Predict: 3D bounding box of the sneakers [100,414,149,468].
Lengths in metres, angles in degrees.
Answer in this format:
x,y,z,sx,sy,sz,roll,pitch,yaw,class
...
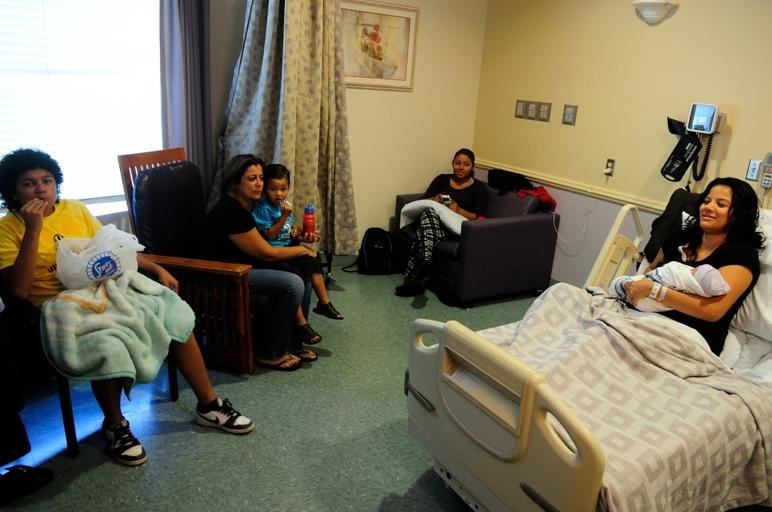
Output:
x,y,z,sx,sy,sz,roll,pitch,yaw,class
-1.422,1.006,2.819,0.364,0.169,0.139,33,24,24,sneakers

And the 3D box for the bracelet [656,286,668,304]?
x,y,z,sx,sy,sz,roll,pitch,yaw,class
1.539,0.214,2.837,0.028,0.083,0.059,5,-1,-5,bracelet

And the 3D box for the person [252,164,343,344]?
x,y,z,sx,sy,sz,roll,pitch,yaw,class
-0.669,-0.062,3.754,0.572,1.192,0.743,-15,30,-33,person

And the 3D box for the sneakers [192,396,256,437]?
x,y,z,sx,sy,sz,roll,pitch,yaw,class
-0.949,0.953,3.057,0.398,0.192,0.153,10,10,6,sneakers

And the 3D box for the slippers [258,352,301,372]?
x,y,z,sx,sy,sz,roll,pitch,yaw,class
-0.732,0.732,3.470,0.214,0.072,0.140,1,12,7,slippers

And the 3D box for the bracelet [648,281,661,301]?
x,y,z,sx,sy,sz,roll,pitch,yaw,class
1.514,0.199,2.909,0.079,0.080,0.083,24,35,32,bracelet

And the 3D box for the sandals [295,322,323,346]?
x,y,z,sx,sy,sz,roll,pitch,yaw,class
-0.562,0.565,3.676,0.090,0.108,0.242,-12,13,-38,sandals

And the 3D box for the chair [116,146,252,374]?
x,y,z,sx,sy,sz,roll,pitch,yaw,class
-1.179,-0.031,3.523,1.068,1.358,1.055,-4,19,-23,chair

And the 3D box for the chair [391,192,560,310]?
x,y,z,sx,sy,sz,roll,pitch,yaw,class
0.913,-0.094,4.785,1.013,0.853,1.037,-10,24,-29,chair

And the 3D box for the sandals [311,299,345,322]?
x,y,z,sx,sy,sz,roll,pitch,yaw,class
-0.453,0.435,3.975,0.236,0.112,0.123,15,20,12,sandals

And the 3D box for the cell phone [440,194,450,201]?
x,y,z,sx,sy,sz,roll,pitch,yaw,class
0.561,-0.544,4.759,0.068,0.050,0.050,0,-1,2,cell phone

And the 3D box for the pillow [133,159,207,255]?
x,y,z,sx,sy,sz,roll,pitch,yaw,class
-1.401,-0.297,3.280,0.388,0.515,0.365,24,34,24,pillow

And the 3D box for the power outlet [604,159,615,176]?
x,y,z,sx,sy,sz,roll,pitch,yaw,class
1.954,-0.787,4.443,0.032,0.128,0.089,5,4,-43,power outlet

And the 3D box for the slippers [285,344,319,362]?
x,y,z,sx,sy,sz,roll,pitch,yaw,class
-0.583,0.677,3.586,0.195,0.076,0.101,13,25,26,slippers

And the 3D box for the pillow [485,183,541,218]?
x,y,z,sx,sy,sz,roll,pitch,yaw,class
1.165,-0.499,4.758,0.306,0.115,0.329,-9,49,24,pillow
